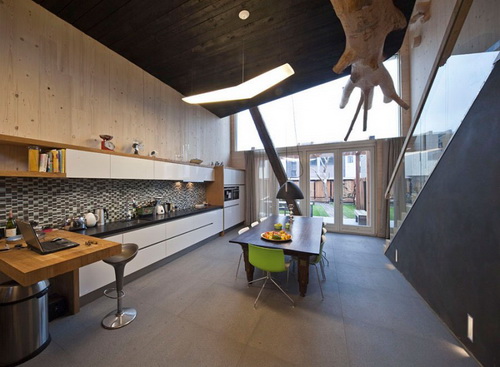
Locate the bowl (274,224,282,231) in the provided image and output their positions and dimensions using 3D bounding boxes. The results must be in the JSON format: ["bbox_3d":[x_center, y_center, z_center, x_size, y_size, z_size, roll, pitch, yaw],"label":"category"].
[{"bbox_3d":[0.465,0.753,5.988,0.086,0.076,0.109,2,-7,-18],"label":"bowl"}]

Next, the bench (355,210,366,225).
[{"bbox_3d":[2.594,0.807,8.254,0.260,0.337,0.503,-1,1,15],"label":"bench"}]

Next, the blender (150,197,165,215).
[{"bbox_3d":[-1.755,0.441,6.651,0.354,0.367,0.196,-2,-1,37],"label":"blender"}]

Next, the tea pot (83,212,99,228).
[{"bbox_3d":[-2.506,0.582,5.449,0.216,0.229,0.162,4,-5,-45],"label":"tea pot"}]

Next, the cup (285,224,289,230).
[{"bbox_3d":[0.636,0.766,6.037,0.075,0.087,0.079,0,-4,0],"label":"cup"}]

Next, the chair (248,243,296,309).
[{"bbox_3d":[0.275,1.328,5.386,0.742,1.019,0.682,1,18,-1],"label":"chair"}]

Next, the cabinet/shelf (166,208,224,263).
[{"bbox_3d":[-0.931,0.968,7.093,0.352,0.694,2.041,18,-28,-37],"label":"cabinet/shelf"}]

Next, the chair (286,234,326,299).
[{"bbox_3d":[0.920,1.247,5.786,0.537,0.828,0.487,-2,11,5],"label":"chair"}]

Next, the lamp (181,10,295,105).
[{"bbox_3d":[-0.207,-2.079,5.542,1.442,1.514,0.354,-11,-43,23],"label":"lamp"}]

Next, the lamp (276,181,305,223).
[{"bbox_3d":[0.690,0.313,6.202,0.487,0.767,0.500,-1,0,3],"label":"lamp"}]

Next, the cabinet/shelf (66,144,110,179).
[{"bbox_3d":[-2.431,-0.275,5.223,0.327,0.487,0.652,2,-1,31],"label":"cabinet/shelf"}]

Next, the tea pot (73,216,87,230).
[{"bbox_3d":[-2.615,0.615,5.305,0.171,0.182,0.175,-2,-4,0],"label":"tea pot"}]

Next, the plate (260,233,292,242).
[{"bbox_3d":[0.405,0.846,5.454,0.479,0.105,0.339,4,13,-3],"label":"plate"}]
